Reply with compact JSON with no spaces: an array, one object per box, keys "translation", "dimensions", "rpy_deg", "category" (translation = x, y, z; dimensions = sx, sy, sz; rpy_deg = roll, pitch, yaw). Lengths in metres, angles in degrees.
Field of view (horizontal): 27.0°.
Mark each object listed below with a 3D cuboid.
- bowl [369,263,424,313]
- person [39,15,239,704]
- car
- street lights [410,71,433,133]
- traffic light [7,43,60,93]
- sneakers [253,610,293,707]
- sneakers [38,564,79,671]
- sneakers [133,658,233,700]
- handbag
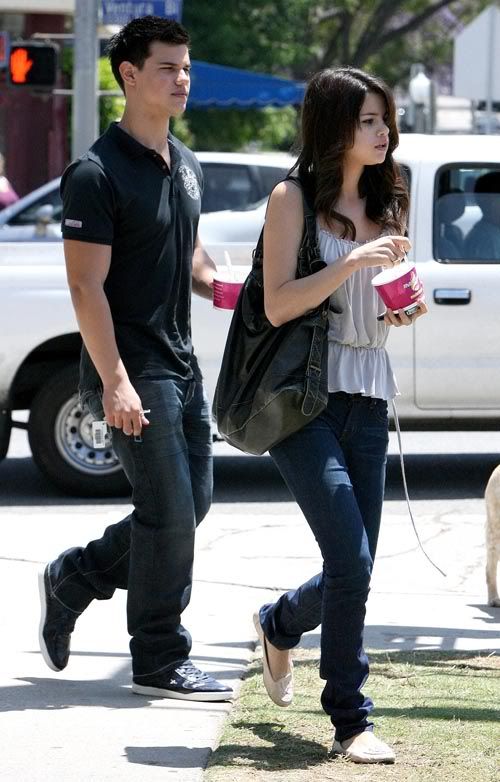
[{"translation":[0.383,-0.273,2.748],"dimensions":[0.125,0.135,0.152],"rpy_deg":[2,4,17],"category":"bowl"},{"translation":[-0.333,-0.086,3.199],"dimensions":[0.560,2.087,0.561],"rpy_deg":[0,4,-11],"category":"person"},{"translation":[-0.860,-1.394,7.420],"dimensions":[2.188,0.838,1.147],"rpy_deg":[1,5,1],"category":"car"},{"translation":[2.967,-4.876,17.907],"dimensions":[0.332,1.114,0.331],"rpy_deg":[1,28,27],"category":"street lights"},{"translation":[-2.090,-3.103,9.995],"dimensions":[0.490,0.397,0.447],"rpy_deg":[-2,8,-20],"category":"traffic light"},{"translation":[0.072,0.787,3.053],"dimensions":[0.088,0.276,0.099],"rpy_deg":[-10,6,41],"category":"sneakers"},{"translation":[-0.642,0.743,3.446],"dimensions":[0.141,0.324,0.116],"rpy_deg":[-8,-2,25],"category":"sneakers"},{"translation":[-0.204,0.913,3.298],"dimensions":[0.344,0.121,0.115],"rpy_deg":[2,-1,7],"category":"sneakers"},{"translation":[0.041,-0.089,2.773],"dimensions":[0.381,0.526,0.251],"rpy_deg":[2,4,19],"category":"handbag"}]
